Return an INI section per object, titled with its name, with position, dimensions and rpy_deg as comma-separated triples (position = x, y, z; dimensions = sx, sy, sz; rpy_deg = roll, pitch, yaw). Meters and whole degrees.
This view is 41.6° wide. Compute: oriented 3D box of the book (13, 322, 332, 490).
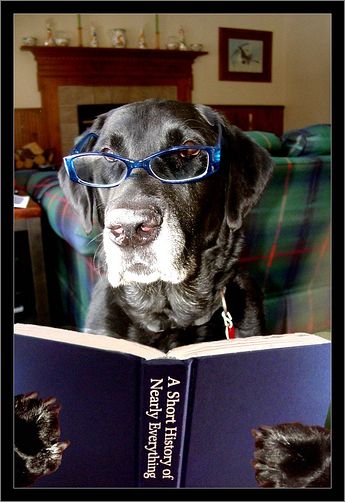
[book]
position = -0.021, 0.411, 1.214
dimensions = 0.742, 0.440, 0.166
rpy_deg = 2, 18, -2

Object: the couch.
[couch]
position = 0.078, 0.086, 1.861
dimensions = 1.138, 0.997, 0.725
rpy_deg = -8, 26, -12

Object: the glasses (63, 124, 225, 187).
[glasses]
position = -0.077, -0.207, 1.119
dimensions = 0.389, 0.105, 0.142
rpy_deg = -2, 12, 2
